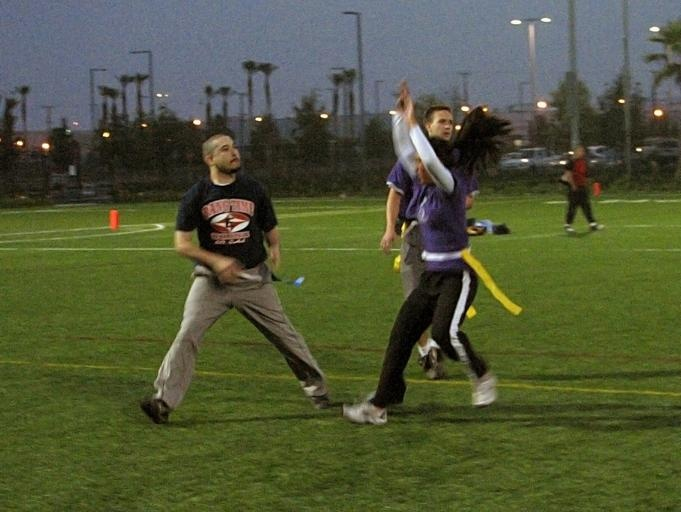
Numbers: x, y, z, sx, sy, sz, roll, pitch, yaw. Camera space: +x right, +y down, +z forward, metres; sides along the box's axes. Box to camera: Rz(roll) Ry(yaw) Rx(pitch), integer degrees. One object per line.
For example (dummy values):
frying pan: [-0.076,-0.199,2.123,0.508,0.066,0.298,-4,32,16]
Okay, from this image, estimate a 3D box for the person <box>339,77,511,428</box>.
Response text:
person: [0.688,-0.005,6.064,1.119,2.309,0.737,-7,7,-35]

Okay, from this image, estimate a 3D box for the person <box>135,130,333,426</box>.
person: [-0.802,0.139,6.282,1.322,1.998,0.400,-4,6,-12]

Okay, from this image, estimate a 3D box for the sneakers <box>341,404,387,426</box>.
sneakers: [0.164,1.101,6.057,0.271,0.090,0.146,4,1,9]

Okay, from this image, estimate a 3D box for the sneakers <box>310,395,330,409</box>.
sneakers: [-0.143,1.073,6.454,0.128,0.093,0.095,-14,12,-17]

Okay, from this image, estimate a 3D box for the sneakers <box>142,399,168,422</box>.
sneakers: [-1.305,1.065,6.098,0.203,0.134,0.082,18,59,46]
